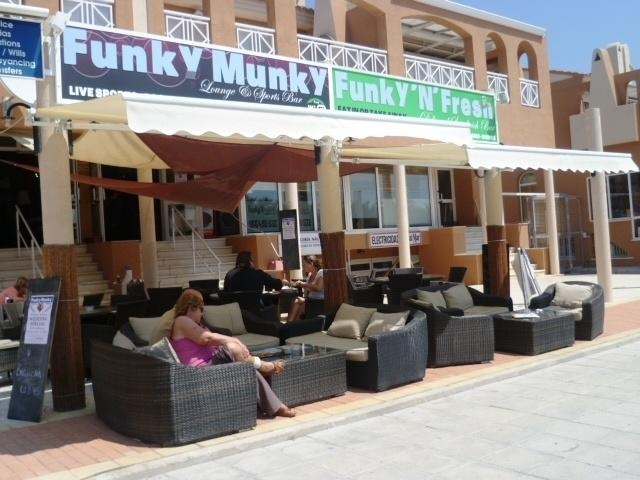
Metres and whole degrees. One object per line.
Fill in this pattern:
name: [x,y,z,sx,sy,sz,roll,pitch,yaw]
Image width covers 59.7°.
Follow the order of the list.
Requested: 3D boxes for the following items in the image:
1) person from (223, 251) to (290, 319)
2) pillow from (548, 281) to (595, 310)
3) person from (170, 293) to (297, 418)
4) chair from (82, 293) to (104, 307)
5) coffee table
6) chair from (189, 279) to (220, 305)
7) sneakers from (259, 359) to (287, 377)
person: [-1.376,1.027,10.446,1.380,1.635,1.037,1,2,-6]
pillow: [4.276,0.818,9.441,0.818,0.568,0.391,0,-20,36]
person: [-0.883,1.202,6.098,1.680,1.030,0.622,10,8,25]
chair: [-4.064,1.071,10.000,0.414,0.248,0.254,0,6,-24]
coffee table: [3.110,1.237,8.320,1.008,0.422,0.683,-1,1,-35]
chair: [-2.452,1.077,12.105,0.811,0.655,0.754,0,-4,-13]
sneakers: [-0.461,1.398,6.059,0.363,0.207,0.112,-5,8,-15]
